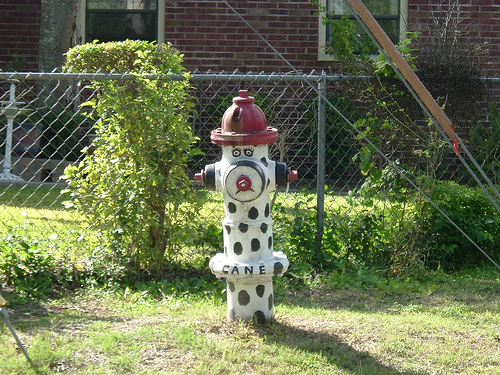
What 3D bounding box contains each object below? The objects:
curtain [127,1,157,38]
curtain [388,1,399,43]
[{"bbox_3d":[-1.839,-2.872,15.001,0.567,0.574,0.136,6,5,-1],"label":"curtain"},{"bbox_3d":[2.235,-2.626,13.808,0.138,0.636,0.381,2,6,-2],"label":"curtain"}]
